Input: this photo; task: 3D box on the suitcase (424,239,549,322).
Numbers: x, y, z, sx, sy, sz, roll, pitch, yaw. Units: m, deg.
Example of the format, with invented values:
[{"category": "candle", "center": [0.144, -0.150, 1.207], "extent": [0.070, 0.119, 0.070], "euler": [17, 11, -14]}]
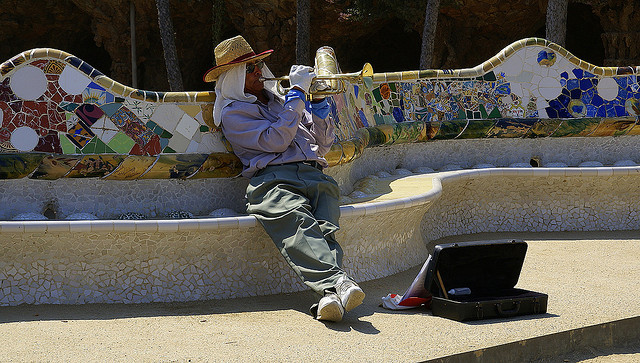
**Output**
[{"category": "suitcase", "center": [2.281, 1.314, 14.406], "extent": [1.572, 0.917, 0.887], "euler": [-2, 3, -27]}]

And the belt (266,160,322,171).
[{"category": "belt", "center": [-0.323, -0.215, 15.048], "extent": [0.816, 0.141, 0.124], "euler": [-3, 5, -17]}]
